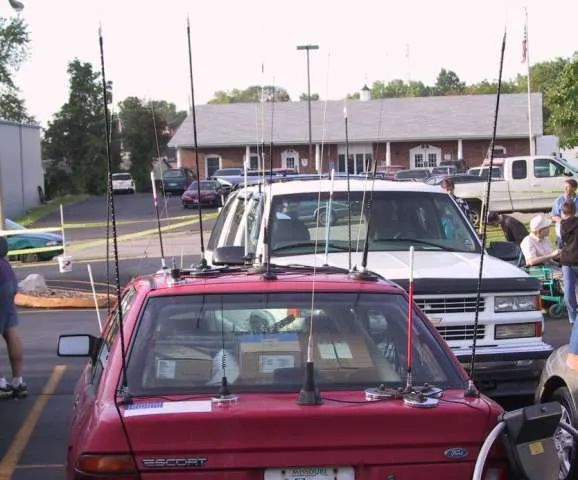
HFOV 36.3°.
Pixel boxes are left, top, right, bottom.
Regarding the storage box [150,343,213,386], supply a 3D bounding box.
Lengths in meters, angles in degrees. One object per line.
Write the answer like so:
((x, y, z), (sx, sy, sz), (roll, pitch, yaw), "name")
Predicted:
((-0.615, 0.719, 5.049), (0.251, 0.106, 0.208), (4, 48, -12), "storage box")

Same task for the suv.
((0.917, 0.387, 8.931), (1.770, 1.376, 3.176), (0, 0, -13), "suv")

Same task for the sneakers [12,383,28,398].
((-2.768, 1.535, 9.014), (0.082, 0.110, 0.229), (-1, 8, -16), "sneakers")

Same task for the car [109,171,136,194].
((-9.675, -3.321, 51.463), (1.209, 1.305, 3.940), (-2, 1, -13), "car")

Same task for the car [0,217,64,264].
((-6.330, 0.059, 21.871), (1.591, 0.635, 0.812), (-2, 2, -2), "car")
